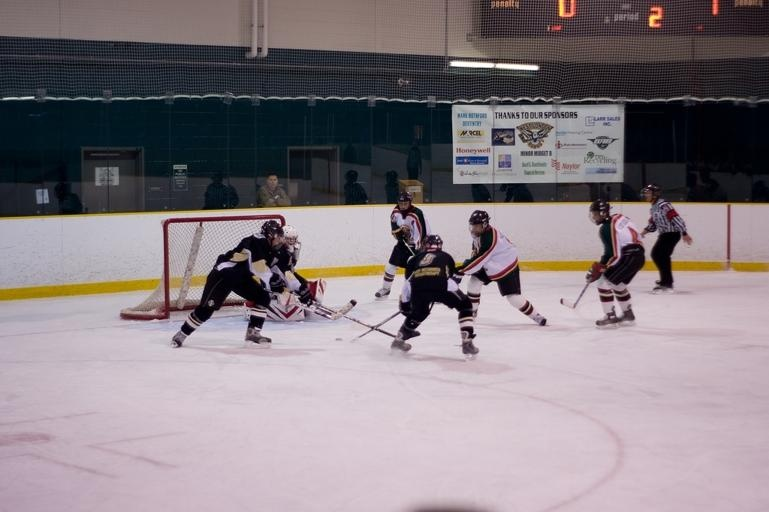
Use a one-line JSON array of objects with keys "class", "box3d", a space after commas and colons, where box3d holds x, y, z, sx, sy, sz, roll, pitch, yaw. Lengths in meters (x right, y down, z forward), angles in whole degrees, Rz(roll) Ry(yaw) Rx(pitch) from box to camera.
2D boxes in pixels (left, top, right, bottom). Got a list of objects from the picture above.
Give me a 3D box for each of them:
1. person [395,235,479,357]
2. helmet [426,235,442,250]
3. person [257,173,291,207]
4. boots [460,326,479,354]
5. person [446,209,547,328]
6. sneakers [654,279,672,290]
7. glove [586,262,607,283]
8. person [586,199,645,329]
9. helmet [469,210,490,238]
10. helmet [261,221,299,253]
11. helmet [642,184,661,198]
[{"class": "person", "box3d": [0.561, 0.485, 9.026, 1.221, 1.450, 0.906, 3, -21, 5]}, {"class": "helmet", "box3d": [0.501, -0.120, 8.516, 0.149, 0.139, 0.165, 2, -19, -18]}, {"class": "person", "box3d": [-1.705, -1.031, 13.097, 0.624, 0.722, 0.471, -2, -6, -9]}, {"class": "boots", "box3d": [0.858, 0.867, 8.280, 0.169, 0.288, 0.187, -1, 6, 4]}, {"class": "person", "box3d": [1.413, 0.172, 10.721, 1.279, 0.572, 1.514, -13, -43, 4]}, {"class": "sneakers", "box3d": [3.923, 0.419, 11.658, 0.242, 0.145, 0.144, 4, -3, 27]}, {"class": "glove", "box3d": [2.396, 0.204, 9.436, 0.176, 0.083, 0.232, 8, -36, -35]}, {"class": "person", "box3d": [2.697, 0.084, 9.629, 0.619, 1.438, 0.759, 0, 7, 18]}, {"class": "helmet", "box3d": [1.065, -0.350, 9.220, 0.320, 0.273, 0.276, -8, 10, -38]}, {"class": "helmet", "box3d": [-1.089, -0.208, 8.814, 0.285, 0.246, 0.392, 37, 0, 30]}, {"class": "helmet", "box3d": [3.839, -0.891, 11.857, 0.215, 0.233, 0.291, 0, 6, 18]}]
